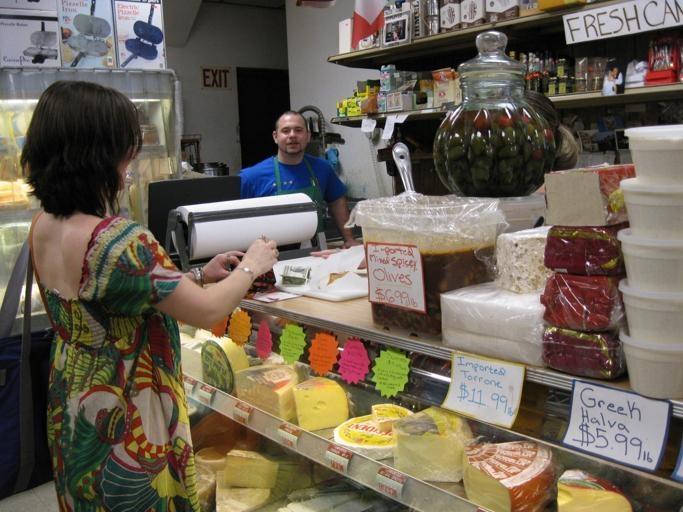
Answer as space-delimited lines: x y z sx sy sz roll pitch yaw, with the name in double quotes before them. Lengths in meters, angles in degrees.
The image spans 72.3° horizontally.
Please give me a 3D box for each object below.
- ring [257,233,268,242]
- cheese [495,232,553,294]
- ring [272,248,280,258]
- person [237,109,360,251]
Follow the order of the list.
"ring" -0.296 -0.068 1.716 0.025 0.034 0.077 -5 -6 -11
"cheese" 0.389 0.013 1.005 0.109 0.127 0.153 0 12 18
"ring" -0.205 -0.008 1.457 0.030 0.014 0.041 7 -32 1
"person" -0.419 -0.504 4.038 0.672 1.363 0.782 19 20 40
